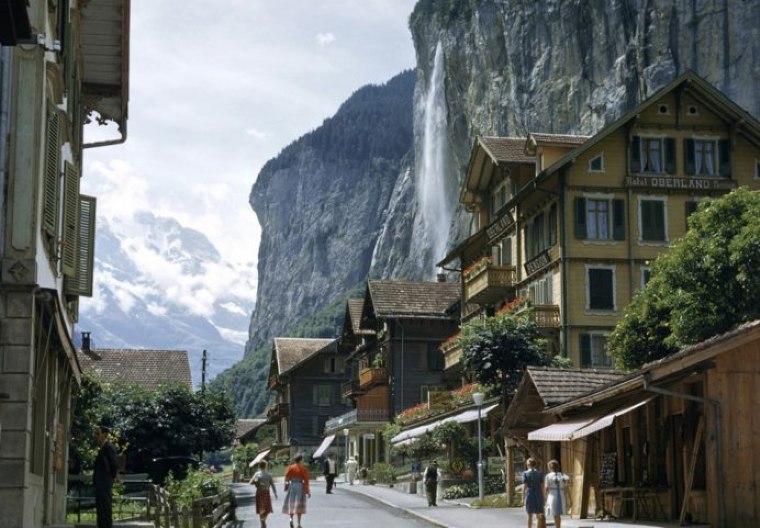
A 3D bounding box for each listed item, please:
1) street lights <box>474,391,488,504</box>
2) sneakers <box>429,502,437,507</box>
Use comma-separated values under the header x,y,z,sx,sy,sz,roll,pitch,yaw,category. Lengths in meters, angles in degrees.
x,y,z,sx,sy,sz,roll,pitch,yaw,category
4.447,8.265,78.858,0.627,4.848,0.689,-7,-18,18,street lights
2.360,10.845,79.099,0.267,0.301,0.133,1,-10,-11,sneakers
